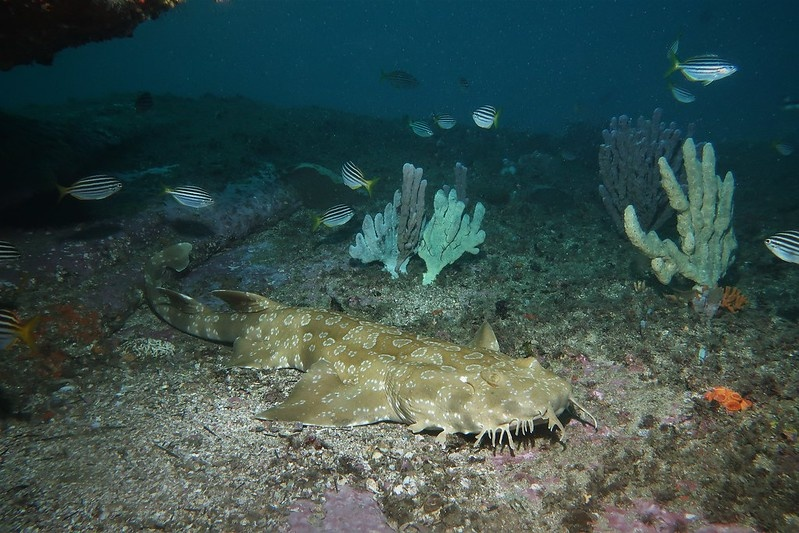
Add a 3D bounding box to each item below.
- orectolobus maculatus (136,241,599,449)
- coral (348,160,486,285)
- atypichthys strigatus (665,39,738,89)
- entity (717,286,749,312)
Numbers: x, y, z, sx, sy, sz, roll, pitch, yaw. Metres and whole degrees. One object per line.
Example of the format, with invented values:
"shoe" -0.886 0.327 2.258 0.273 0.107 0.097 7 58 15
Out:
"orectolobus maculatus" -0.666 1.516 10.004 6.511 0.736 1.564 13 44 17
"coral" 0.427 -1.069 13.260 2.244 2.299 1.376 8 35 -4
"atypichthys strigatus" 5.599 -3.713 12.878 0.849 1.014 1.303 -9 42 -7
"entity" 5.377 0.469 10.931 0.384 0.311 0.470 25 49 29
